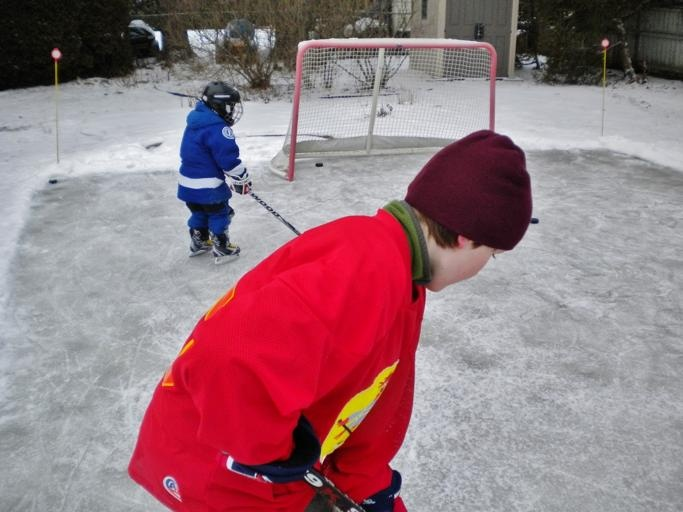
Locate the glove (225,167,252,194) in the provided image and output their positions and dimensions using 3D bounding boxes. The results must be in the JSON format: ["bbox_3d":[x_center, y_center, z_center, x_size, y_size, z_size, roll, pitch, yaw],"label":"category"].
[{"bbox_3d":[-0.875,-0.665,4.470,0.152,0.142,0.261,-15,54,-38],"label":"glove"}]

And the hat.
[{"bbox_3d":[0.378,-0.166,1.562,0.334,0.289,0.320,22,-3,33],"label":"hat"}]
